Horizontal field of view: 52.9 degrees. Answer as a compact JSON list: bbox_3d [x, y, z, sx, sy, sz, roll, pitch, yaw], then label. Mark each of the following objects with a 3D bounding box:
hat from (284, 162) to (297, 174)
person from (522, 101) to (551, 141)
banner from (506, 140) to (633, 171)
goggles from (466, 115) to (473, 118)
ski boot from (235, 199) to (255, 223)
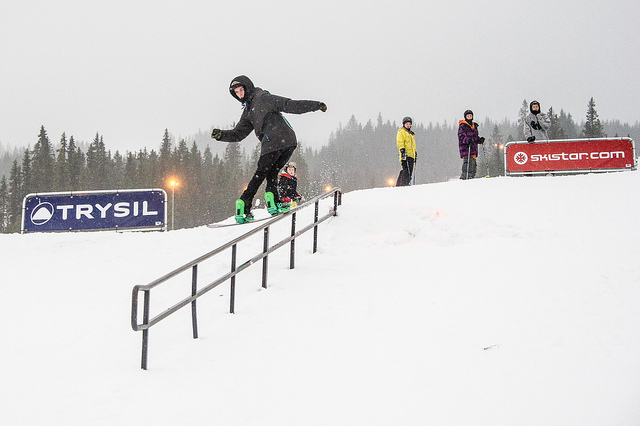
[{"bbox_3d":[-0.828,-1.265,17.905,0.259,0.329,0.275,4,6,-7],"label":"hat"},{"bbox_3d":[6.109,-2.514,18.279,0.678,1.269,0.682,-14,28,5],"label":"person"},{"bbox_3d":[7.391,-1.690,19.109,3.464,0.870,0.254,0,5,9],"label":"banner"},{"bbox_3d":[4.068,-2.631,17.648,0.149,0.067,0.124,1,6,19],"label":"goggles"},{"bbox_3d":[-1.567,-0.042,13.033,0.332,0.506,0.453,5,11,29],"label":"ski boot"}]
